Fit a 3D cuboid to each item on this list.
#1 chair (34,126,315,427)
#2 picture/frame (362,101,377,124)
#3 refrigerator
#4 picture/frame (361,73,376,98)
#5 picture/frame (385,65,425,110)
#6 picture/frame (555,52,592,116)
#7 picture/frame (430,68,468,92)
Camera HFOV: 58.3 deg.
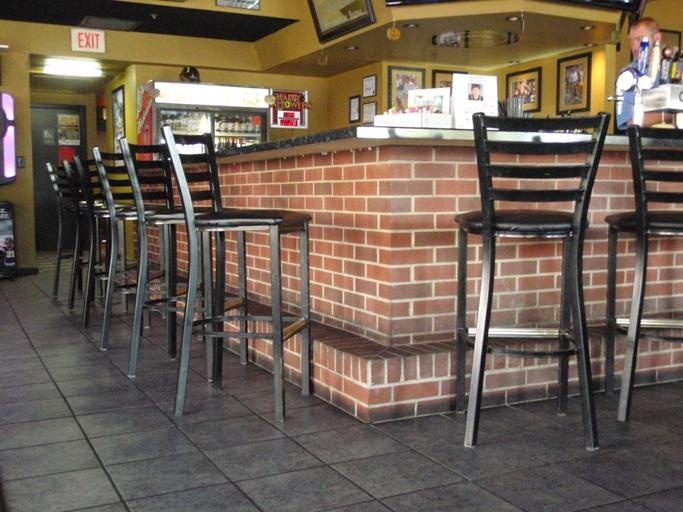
[{"bbox_3d":[-0.846,-0.051,3.687,0.915,1.351,2.326,-4,9,-20],"label":"chair"},{"bbox_3d":[0.415,-2.130,9.052,0.165,0.304,0.434,-2,9,-8],"label":"picture/frame"},{"bbox_3d":[-1.892,-1.755,9.004,1.642,1.436,0.564,-1,-33,-13],"label":"refrigerator"},{"bbox_3d":[0.405,-2.537,9.077,0.046,0.418,0.436,1,1,-27],"label":"picture/frame"},{"bbox_3d":[0.944,-2.434,9.060,0.647,0.600,0.031,-8,17,-32],"label":"picture/frame"},{"bbox_3d":[3.079,-2.288,8.152,0.162,0.774,0.616,-4,10,-21],"label":"picture/frame"},{"bbox_3d":[1.623,-2.681,9.217,0.501,0.276,0.291,-7,11,-38],"label":"picture/frame"}]
